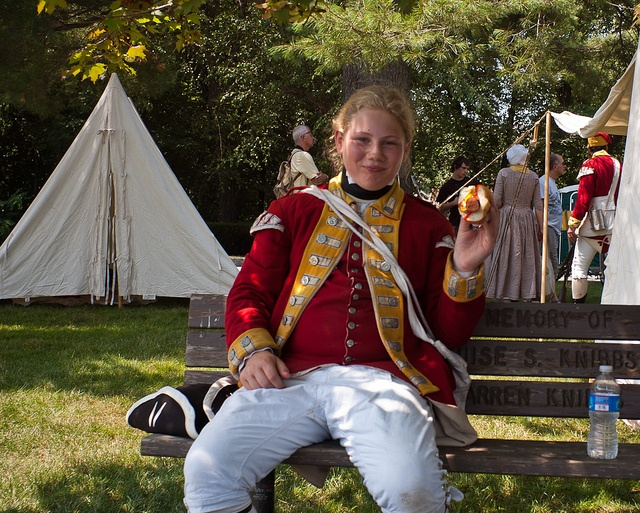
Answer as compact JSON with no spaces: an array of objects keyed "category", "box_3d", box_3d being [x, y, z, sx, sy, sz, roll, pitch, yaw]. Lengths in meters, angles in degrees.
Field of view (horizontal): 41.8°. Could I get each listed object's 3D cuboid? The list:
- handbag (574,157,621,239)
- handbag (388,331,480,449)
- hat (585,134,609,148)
[{"category":"handbag","box_3d":[2.734,-0.536,7.901,0.275,0.745,0.433,-3,10,-31]},{"category":"handbag","box_3d":[0.616,0.645,4.426,0.433,0.675,0.596,-3,-2,6]},{"category":"hat","box_3d":[2.749,-1.096,8.010,0.138,0.095,0.181,0,-1,-9]}]
